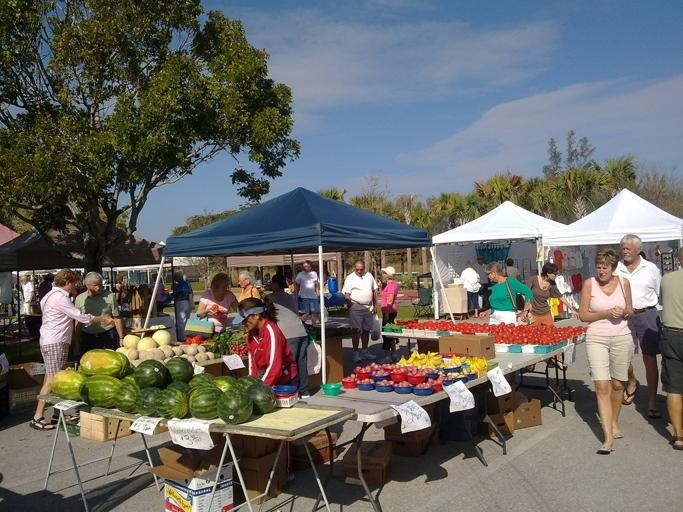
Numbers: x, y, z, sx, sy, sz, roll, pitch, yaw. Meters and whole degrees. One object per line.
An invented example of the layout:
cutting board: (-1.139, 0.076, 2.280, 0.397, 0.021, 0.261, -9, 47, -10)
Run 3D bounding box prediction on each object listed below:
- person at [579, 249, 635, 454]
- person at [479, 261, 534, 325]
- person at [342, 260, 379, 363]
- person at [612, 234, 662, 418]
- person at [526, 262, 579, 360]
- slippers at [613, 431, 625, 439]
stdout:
person: (3.399, 1.165, 6.872, 0.652, 2.497, 1.217, -2, -1, 39)
person: (2.869, 0.683, 9.068, 0.469, 1.392, 0.572, 0, 0, 38)
person: (0.390, 1.239, 11.733, 0.791, 2.260, 0.697, -1, 3, -38)
person: (4.449, 1.023, 8.060, 0.811, 2.734, 1.088, -2, 8, 28)
person: (3.813, 0.869, 9.627, 0.757, 1.822, 0.710, 3, 4, 43)
slippers: (3.741, 2.413, 7.157, 0.085, 0.059, 0.136, -2, -3, -12)
